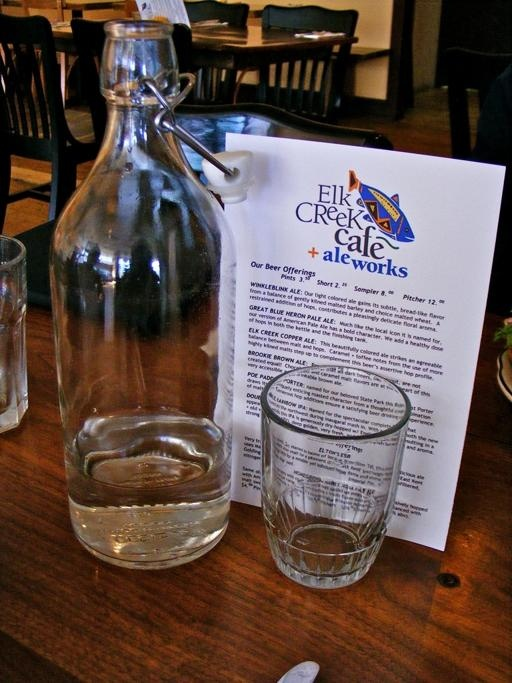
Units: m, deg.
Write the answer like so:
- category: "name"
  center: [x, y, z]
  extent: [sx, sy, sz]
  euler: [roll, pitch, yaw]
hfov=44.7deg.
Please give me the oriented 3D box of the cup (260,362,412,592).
- category: "cup"
  center: [0.040, 0.085, 0.361]
  extent: [0.077, 0.133, 0.077]
  euler: [1, 26, -1]
